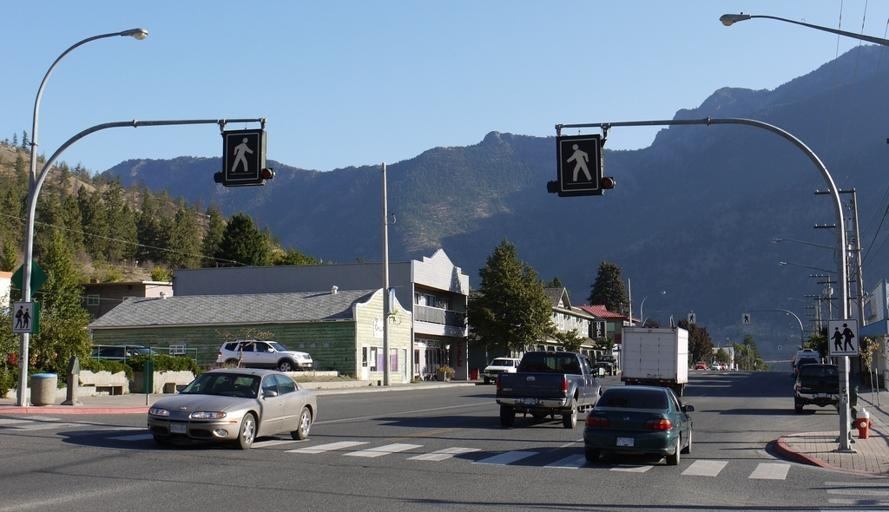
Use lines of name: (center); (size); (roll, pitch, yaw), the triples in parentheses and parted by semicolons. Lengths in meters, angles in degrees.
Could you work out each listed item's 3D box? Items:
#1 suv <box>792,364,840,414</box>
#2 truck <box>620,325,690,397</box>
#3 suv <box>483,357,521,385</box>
suv: (28.199, 10.066, 85.420); (3.105, 3.808, 2.928); (-2, -10, 16)
truck: (17.715, 8.634, 93.655); (3.783, 4.700, 10.301); (-1, -4, 20)
suv: (5.219, 11.018, 109.475); (2.661, 2.109, 4.734); (-4, -12, 20)
